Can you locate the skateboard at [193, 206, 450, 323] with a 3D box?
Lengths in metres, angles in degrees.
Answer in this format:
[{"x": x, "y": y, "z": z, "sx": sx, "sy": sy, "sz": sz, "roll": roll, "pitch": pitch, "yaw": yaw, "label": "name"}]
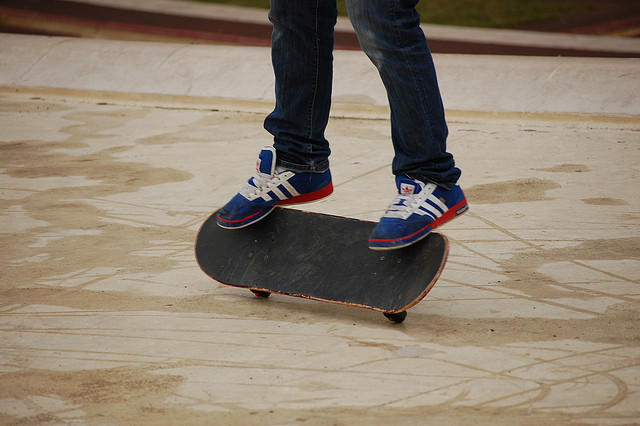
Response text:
[{"x": -0.016, "y": 0.157, "z": 2.960, "sx": 1.046, "sy": 0.338, "sz": 0.410, "roll": 18, "pitch": 47, "yaw": 9, "label": "skateboard"}]
